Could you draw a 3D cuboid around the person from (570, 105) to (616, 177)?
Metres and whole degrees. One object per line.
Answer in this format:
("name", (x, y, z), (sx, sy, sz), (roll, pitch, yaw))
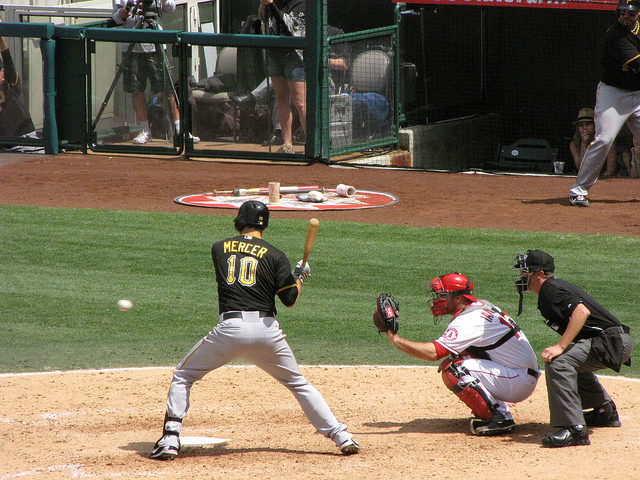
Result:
("person", (4.345, -1.258, 18.770), (0.606, 1.749, 0.668), (-1, -22, 1))

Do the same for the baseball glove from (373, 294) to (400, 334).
("baseball glove", (0.631, 0.757, 10.653), (0.141, 0.267, 0.362), (3, -12, 19))

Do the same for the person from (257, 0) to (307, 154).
("person", (-0.569, -2.586, 18.620), (0.677, 2.399, 1.037), (-1, 13, -3))

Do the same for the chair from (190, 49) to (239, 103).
("chair", (-1.671, -2.612, 18.522), (0.733, 0.785, 0.529), (-12, 17, -30))

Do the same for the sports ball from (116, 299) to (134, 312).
("sports ball", (-2.030, 0.695, 12.106), (0.192, 0.099, 0.186), (4, 1, 0))

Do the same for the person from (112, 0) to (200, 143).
("person", (-2.698, -2.655, 18.916), (1.031, 2.178, 1.281), (-7, 14, -26))

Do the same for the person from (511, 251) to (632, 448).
("person", (2.249, 0.976, 10.493), (1.049, 1.641, 0.743), (2, 13, 12))

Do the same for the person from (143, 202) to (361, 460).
("person", (-0.625, 0.802, 10.291), (1.645, 2.115, 0.729), (-1, 13, -5))
